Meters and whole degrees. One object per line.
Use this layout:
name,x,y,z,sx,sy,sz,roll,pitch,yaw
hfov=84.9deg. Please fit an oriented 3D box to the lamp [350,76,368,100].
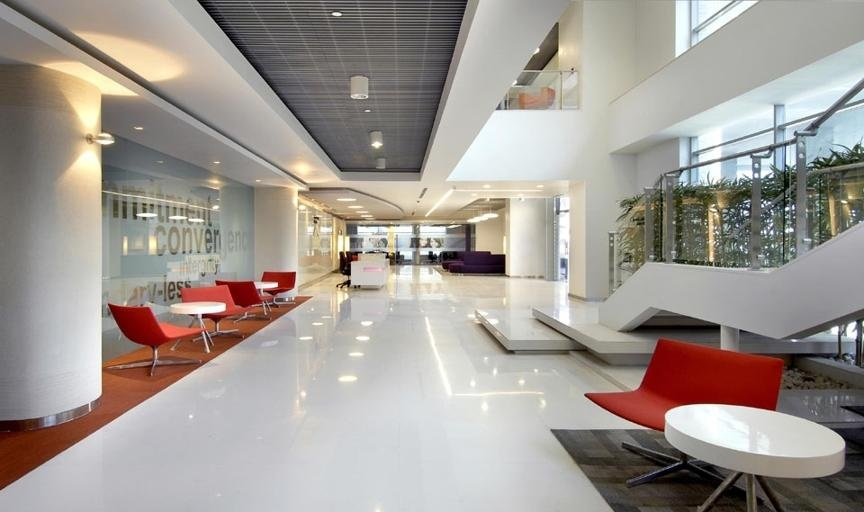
lamp,-1.155,-2.722,7.559,0.301,0.330,0.274,-2,12,-8

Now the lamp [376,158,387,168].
lamp,-1.359,-2.475,12.499,0.286,0.183,0.267,-4,-4,15

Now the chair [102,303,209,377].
chair,-4.396,1.308,7.708,1.280,1.039,1.322,2,-1,26

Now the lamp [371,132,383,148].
lamp,-1.166,-2.553,10.201,0.257,0.254,0.243,-4,7,-24

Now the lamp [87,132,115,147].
lamp,-4.367,-1.557,6.227,0.286,0.145,0.181,-4,12,-20

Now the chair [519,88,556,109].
chair,3.015,-4.503,13.716,0.772,0.410,0.713,-1,6,0

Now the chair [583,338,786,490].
chair,2.943,1.831,5.362,1.764,1.324,1.851,2,-3,-44

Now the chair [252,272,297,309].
chair,-4.149,0.911,12.820,1.121,0.888,1.042,0,-5,8

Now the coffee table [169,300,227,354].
coffee table,-4.288,1.265,8.545,1.108,0.815,1.009,0,0,1
